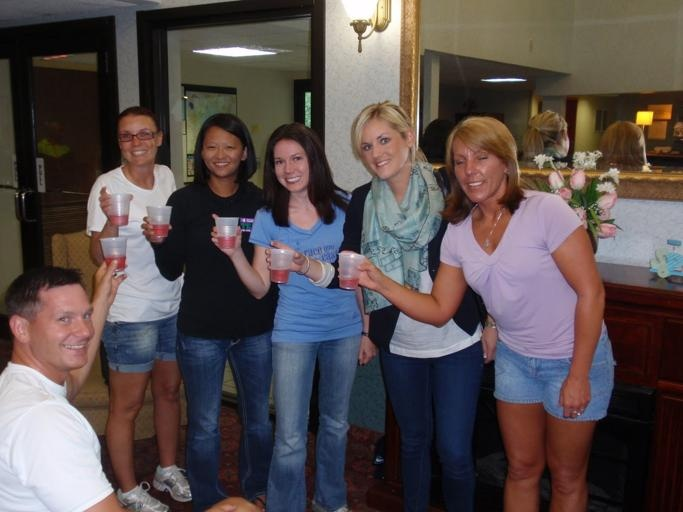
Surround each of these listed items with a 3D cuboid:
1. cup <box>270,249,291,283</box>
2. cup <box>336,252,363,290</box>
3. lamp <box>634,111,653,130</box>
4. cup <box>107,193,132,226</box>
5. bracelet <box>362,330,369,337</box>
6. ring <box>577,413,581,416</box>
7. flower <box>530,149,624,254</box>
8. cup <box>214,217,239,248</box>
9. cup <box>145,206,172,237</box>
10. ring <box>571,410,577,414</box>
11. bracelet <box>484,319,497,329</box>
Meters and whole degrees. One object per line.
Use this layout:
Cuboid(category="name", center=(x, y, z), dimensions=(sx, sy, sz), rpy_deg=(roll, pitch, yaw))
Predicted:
Cuboid(category="cup", center=(-0.270, 0.050, 2.215), dimensions=(0.088, 0.184, 0.159), rpy_deg=(-5, 10, -13))
Cuboid(category="cup", center=(0.034, 0.061, 2.088), dimensions=(0.137, 0.142, 0.123), rpy_deg=(-7, 12, -44))
Cuboid(category="lamp", center=(1.542, -0.695, 2.579), dimensions=(0.075, 0.106, 0.077), rpy_deg=(5, 25, 36))
Cuboid(category="cup", center=(-1.106, -0.224, 2.499), dimensions=(0.112, 0.161, 0.140), rpy_deg=(-7, 11, -26))
Cuboid(category="bracelet", center=(0.118, 0.387, 2.460), dimensions=(0.026, 0.020, 0.027), rpy_deg=(-2, -9, 38))
Cuboid(category="ring", center=(0.900, 0.601, 1.892), dimensions=(0.007, 0.015, 0.011), rpy_deg=(-49, 0, -42))
Cuboid(category="flower", center=(1.186, -0.299, 2.651), dimensions=(0.540, 0.547, 0.524), rpy_deg=(-6, 3, -14))
Cuboid(category="cup", center=(-0.508, -0.099, 2.226), dimensions=(0.121, 0.136, 0.128), rpy_deg=(-1, 2, 0))
Cuboid(category="cup", center=(-0.863, -0.164, 2.451), dimensions=(0.134, 0.141, 0.135), rpy_deg=(2, 5, 0))
Cuboid(category="ring", center=(0.881, 0.591, 1.889), dimensions=(0.012, 0.006, 0.017), rpy_deg=(24, -23, -15))
Cuboid(category="bracelet", center=(0.678, 0.313, 2.267), dimensions=(0.051, 0.056, 0.038), rpy_deg=(-10, -22, 4))
